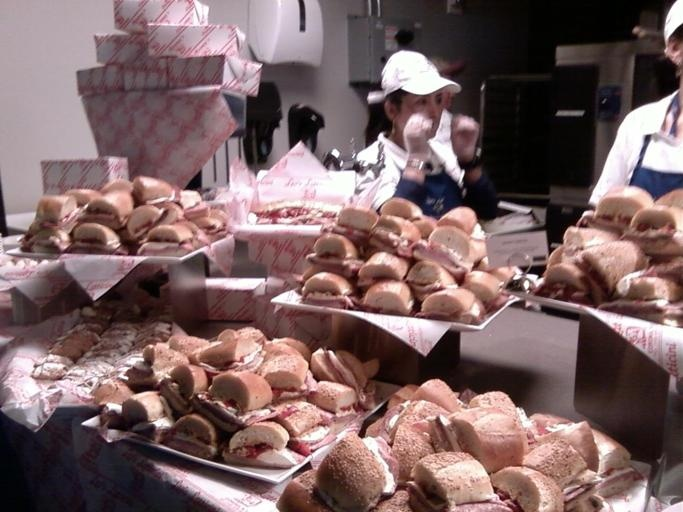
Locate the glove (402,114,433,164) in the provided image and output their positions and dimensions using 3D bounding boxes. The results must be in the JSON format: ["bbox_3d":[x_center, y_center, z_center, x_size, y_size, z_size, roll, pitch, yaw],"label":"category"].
[{"bbox_3d":[0.226,-0.333,1.388,0.042,0.127,0.095,4,47,18],"label":"glove"}]

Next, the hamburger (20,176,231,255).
[{"bbox_3d":[-0.673,-0.122,1.435,0.558,0.209,0.198,0,12,6],"label":"hamburger"}]

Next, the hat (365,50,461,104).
[{"bbox_3d":[0.220,-0.561,1.554,0.242,0.134,0.157,-4,12,39],"label":"hat"}]

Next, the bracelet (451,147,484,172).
[{"bbox_3d":[0.356,-0.272,1.368,0.051,0.058,0.043,11,16,32],"label":"bracelet"}]

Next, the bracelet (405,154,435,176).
[{"bbox_3d":[0.226,-0.262,1.411,0.076,0.053,0.079,9,5,9],"label":"bracelet"}]

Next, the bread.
[{"bbox_3d":[-0.690,0.248,1.384,0.199,0.043,0.216,5,24,13],"label":"bread"}]

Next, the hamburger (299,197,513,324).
[{"bbox_3d":[0.144,0.023,1.174,0.358,0.121,0.330,6,30,11],"label":"hamburger"}]
